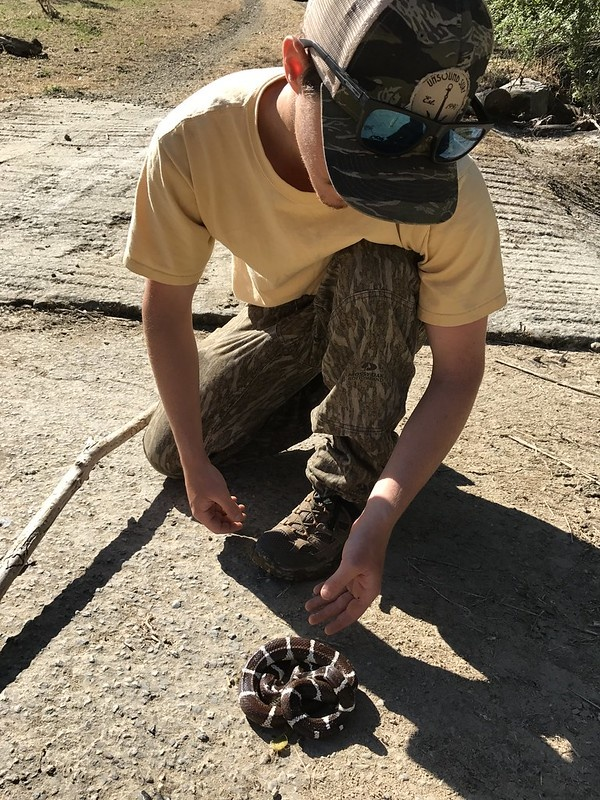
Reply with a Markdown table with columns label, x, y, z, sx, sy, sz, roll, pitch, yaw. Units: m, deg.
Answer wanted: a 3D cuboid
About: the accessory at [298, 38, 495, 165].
| label | x | y | z | sx | sy | sz | roll | pitch | yaw |
| --- | --- | --- | --- | --- | --- | --- | --- | --- | --- |
| accessory | 0.175 | -0.563 | 1.561 | 0.319 | 0.089 | 0.298 | -20 | 59 | -40 |
